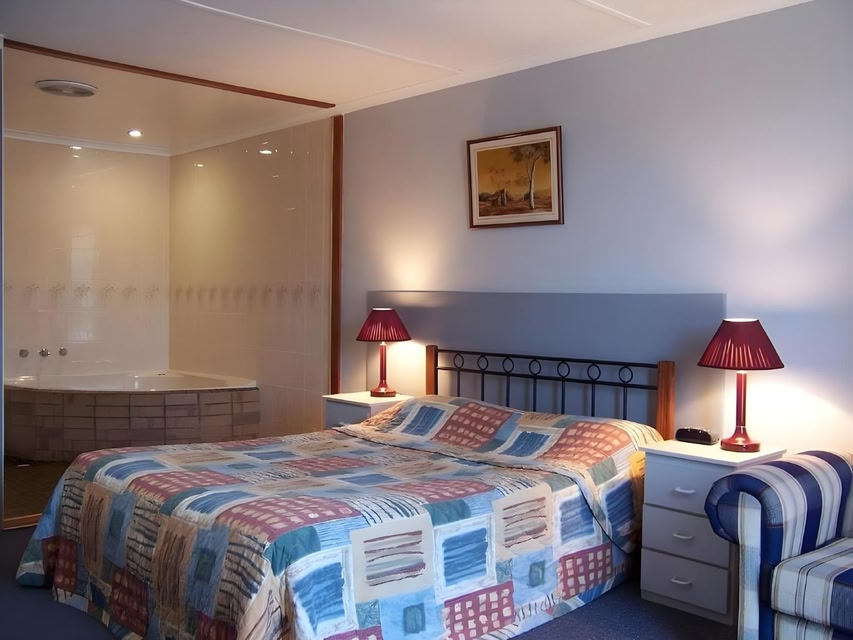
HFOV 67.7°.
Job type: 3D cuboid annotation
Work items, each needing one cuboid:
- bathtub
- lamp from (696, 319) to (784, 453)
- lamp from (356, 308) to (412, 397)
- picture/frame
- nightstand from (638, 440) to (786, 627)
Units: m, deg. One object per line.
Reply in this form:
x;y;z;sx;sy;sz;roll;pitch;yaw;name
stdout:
-2.599;0.825;5.444;1.313;0.467;0.994;5;-5;-42;bathtub
1.625;0.319;3.246;0.363;0.650;0.324;-3;6;-36;lamp
-0.334;0.244;4.905;0.432;0.671;0.434;1;3;16;lamp
0.626;-0.981;4.318;0.749;0.664;0.053;2;6;42;picture/frame
1.430;1.069;3.352;0.482;0.786;0.562;2;2;32;nightstand
